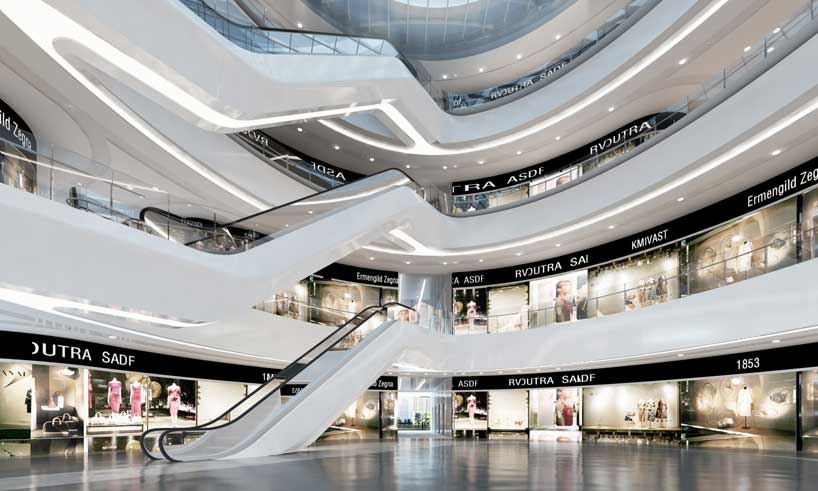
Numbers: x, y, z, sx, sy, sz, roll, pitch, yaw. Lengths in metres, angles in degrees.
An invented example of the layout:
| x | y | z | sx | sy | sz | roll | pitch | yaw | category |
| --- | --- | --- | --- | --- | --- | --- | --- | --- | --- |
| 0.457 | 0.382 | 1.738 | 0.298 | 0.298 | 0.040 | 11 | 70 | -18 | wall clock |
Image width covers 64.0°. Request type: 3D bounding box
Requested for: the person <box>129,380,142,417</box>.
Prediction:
| x | y | z | sx | sy | sz | roll | pitch | yaw | category |
| --- | --- | --- | --- | --- | --- | --- | --- | --- | --- |
| -8.794 | 4.907 | 21.058 | 0.206 | 1.117 | 0.643 | -5 | -20 | 16 | person |

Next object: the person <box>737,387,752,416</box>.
| x | y | z | sx | sy | sz | roll | pitch | yaw | category |
| --- | --- | --- | --- | --- | --- | --- | --- | --- | --- |
| 10.560 | 4.881 | 20.561 | 0.159 | 0.882 | 0.573 | 12 | -22 | -29 | person |

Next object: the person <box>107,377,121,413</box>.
| x | y | z | sx | sy | sz | roll | pitch | yaw | category |
| --- | --- | --- | --- | --- | --- | --- | --- | --- | --- |
| -9.229 | 4.676 | 20.472 | 0.253 | 1.037 | 0.551 | -2 | -20 | 7 | person |
